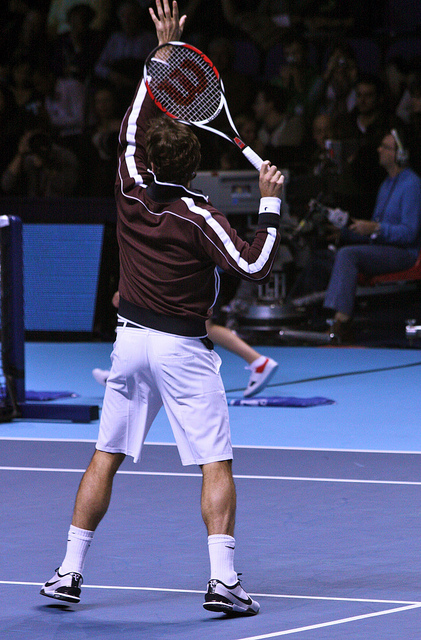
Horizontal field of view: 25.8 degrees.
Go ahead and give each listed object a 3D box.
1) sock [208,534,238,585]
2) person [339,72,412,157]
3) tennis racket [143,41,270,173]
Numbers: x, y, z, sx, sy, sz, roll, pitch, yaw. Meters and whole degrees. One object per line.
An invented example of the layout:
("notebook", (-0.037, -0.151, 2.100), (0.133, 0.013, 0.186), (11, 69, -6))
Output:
("sock", (0.034, 0.726, 2.802), (0.076, 0.137, 0.153), (-1, -8, 12))
("person", (1.623, -1.988, 8.863), (0.965, 0.658, 0.427), (8, 19, 40))
("tennis racket", (-0.042, -0.811, 3.425), (0.435, 0.408, 0.894), (7, 13, -5))
